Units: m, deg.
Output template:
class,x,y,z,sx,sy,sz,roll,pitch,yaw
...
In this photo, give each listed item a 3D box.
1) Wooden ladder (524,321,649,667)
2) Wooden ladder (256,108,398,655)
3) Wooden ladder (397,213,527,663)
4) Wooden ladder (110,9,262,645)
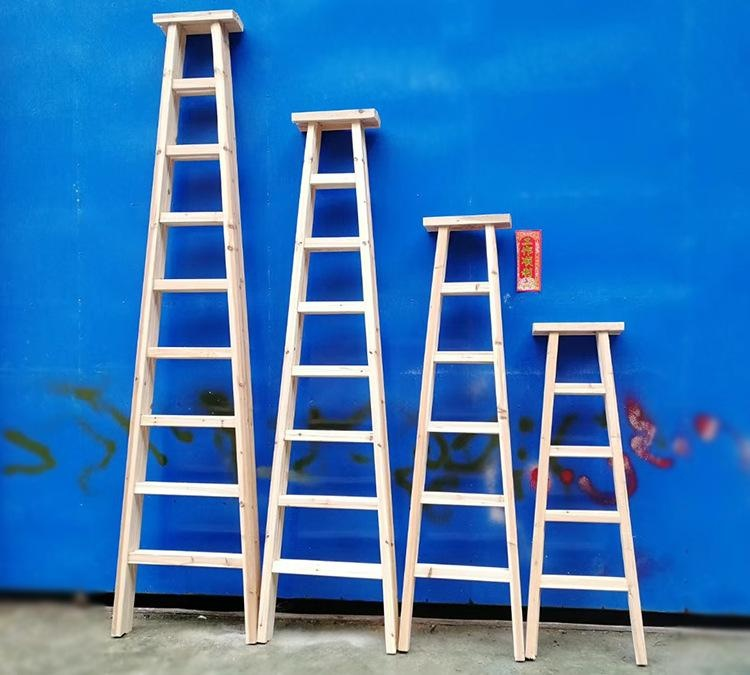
class,x,y,z,sx,sy,sz,roll,pitch,yaw
Wooden ladder,0.889,0.658,4.543,0.499,1.437,0.346,-3,-6,14
Wooden ladder,-0.233,0.176,4.641,0.609,2.346,0.347,-2,-6,0
Wooden ladder,0.362,0.416,4.590,0.549,1.902,0.288,-2,-6,8
Wooden ladder,-0.862,-0.063,4.693,0.644,2.771,0.396,-1,-6,-5
